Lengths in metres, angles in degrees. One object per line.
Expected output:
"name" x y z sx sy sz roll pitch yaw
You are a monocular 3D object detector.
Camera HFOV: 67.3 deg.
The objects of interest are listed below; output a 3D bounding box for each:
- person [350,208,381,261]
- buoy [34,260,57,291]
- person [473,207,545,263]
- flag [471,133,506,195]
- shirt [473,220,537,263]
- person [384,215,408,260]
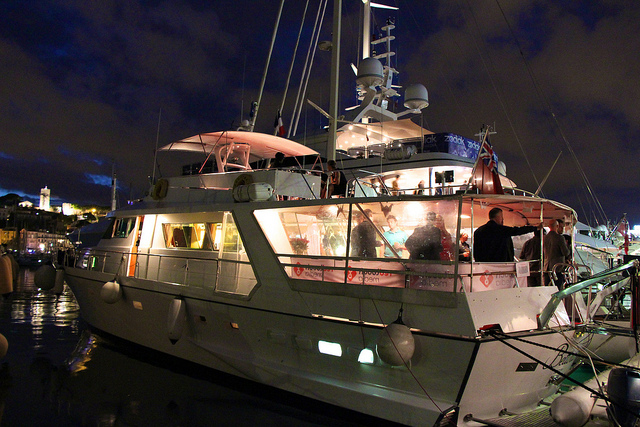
"person" 0.979 0.488 10.491 0.637 0.866 0.375 -2 5 2
"buoy" -9.281 2.180 16.310 0.655 0.996 1.023 -5 5 -30
"person" 4.147 0.447 10.564 0.372 1.214 1.135 -13 14 -41
"flag" 3.649 -1.101 10.505 0.640 1.320 0.554 0 5 20
"shirt" 3.784 0.591 10.170 1.048 0.904 0.451 0 5 22
"person" 1.653 0.499 10.407 0.502 0.922 1.454 -1 5 9
